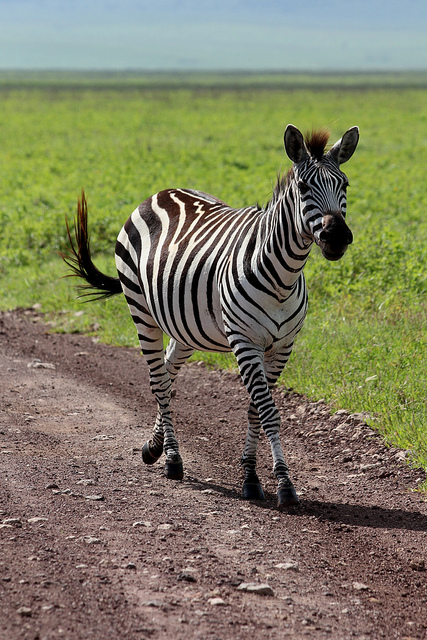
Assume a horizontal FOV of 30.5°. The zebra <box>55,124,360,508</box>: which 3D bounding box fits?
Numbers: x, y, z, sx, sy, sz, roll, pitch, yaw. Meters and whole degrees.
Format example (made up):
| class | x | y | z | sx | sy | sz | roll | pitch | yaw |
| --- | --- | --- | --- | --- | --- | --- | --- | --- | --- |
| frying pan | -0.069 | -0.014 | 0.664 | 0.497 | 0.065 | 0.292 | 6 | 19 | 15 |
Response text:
| class | x | y | z | sx | sy | sz | roll | pitch | yaw |
| --- | --- | --- | --- | --- | --- | --- | --- | --- | --- |
| zebra | 0.095 | -0.045 | 4.398 | 0.680 | 2.027 | 1.998 | 0 | 9 | -25 |
